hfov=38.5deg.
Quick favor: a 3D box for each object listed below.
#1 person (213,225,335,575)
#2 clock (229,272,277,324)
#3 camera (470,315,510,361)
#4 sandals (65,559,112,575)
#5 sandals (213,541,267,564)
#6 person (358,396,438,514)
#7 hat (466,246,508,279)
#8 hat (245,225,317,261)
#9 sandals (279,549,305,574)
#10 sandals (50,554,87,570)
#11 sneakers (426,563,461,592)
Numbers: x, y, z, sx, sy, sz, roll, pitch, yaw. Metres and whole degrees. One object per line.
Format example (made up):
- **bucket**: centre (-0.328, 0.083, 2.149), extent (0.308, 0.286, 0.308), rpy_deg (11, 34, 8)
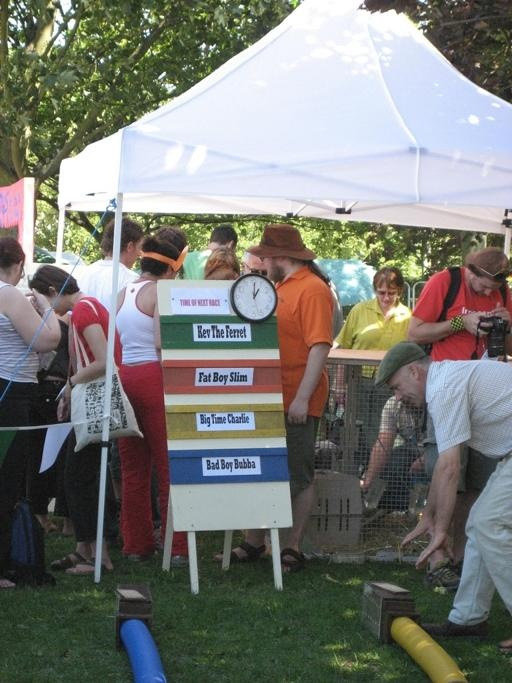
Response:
- **person**: centre (0.099, 0.366, 4.429), extent (0.811, 2.108, 0.766), rpy_deg (5, -2, -35)
- **clock**: centre (-0.018, -0.221, 4.020), extent (0.344, 0.307, 0.048), rpy_deg (-1, 4, -12)
- **camera**: centre (1.270, -0.032, 4.075), extent (0.238, 0.385, 0.313), rpy_deg (1, 0, 13)
- **sandals**: centre (-0.967, 1.283, 4.160), extent (0.214, 0.046, 0.094), rpy_deg (5, -4, -9)
- **sandals**: centre (-0.089, 1.281, 4.477), extent (0.286, 0.095, 0.115), rpy_deg (3, -4, -26)
- **person**: centre (0.837, 0.561, 4.648), extent (0.533, 0.162, 0.818), rpy_deg (4, 14, 14)
- **hat**: centre (1.289, -0.427, 4.067), extent (0.227, 0.183, 0.204), rpy_deg (1, -2, 14)
- **hat**: centre (0.142, -0.569, 4.349), extent (0.279, 0.127, 0.270), rpy_deg (-8, 10, -34)
- **sandals**: centre (0.205, 1.277, 4.237), extent (0.202, 0.125, 0.377), rpy_deg (-1, -9, 3)
- **sandals**: centre (-1.082, 1.272, 4.272), extent (0.265, 0.091, 0.083), rpy_deg (3, -2, -16)
- **sneakers**: centre (1.030, 1.301, 4.055), extent (0.088, 0.092, 0.224), rpy_deg (-2, -9, -25)
